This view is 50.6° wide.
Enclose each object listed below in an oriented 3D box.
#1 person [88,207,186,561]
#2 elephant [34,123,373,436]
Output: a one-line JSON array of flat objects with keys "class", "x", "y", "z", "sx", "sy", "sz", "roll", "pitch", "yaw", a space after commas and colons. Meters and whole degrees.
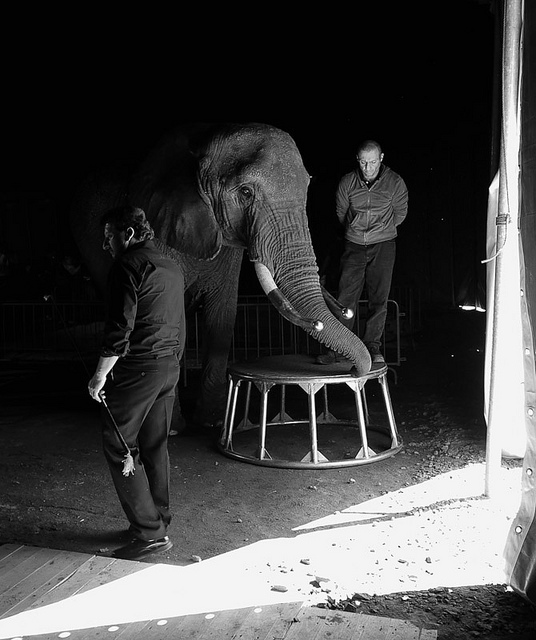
[{"class": "person", "x": -0.729, "y": 0.363, "z": 3.154, "sx": 0.364, "sy": 1.972, "sz": 0.668, "roll": 0, "pitch": 1, "yaw": 17}, {"class": "elephant", "x": -0.817, "y": -0.514, "z": 6.381, "sx": 3.747, "sy": 3.413, "sz": 1.729, "roll": 10, "pitch": 19, "yaw": 29}]
